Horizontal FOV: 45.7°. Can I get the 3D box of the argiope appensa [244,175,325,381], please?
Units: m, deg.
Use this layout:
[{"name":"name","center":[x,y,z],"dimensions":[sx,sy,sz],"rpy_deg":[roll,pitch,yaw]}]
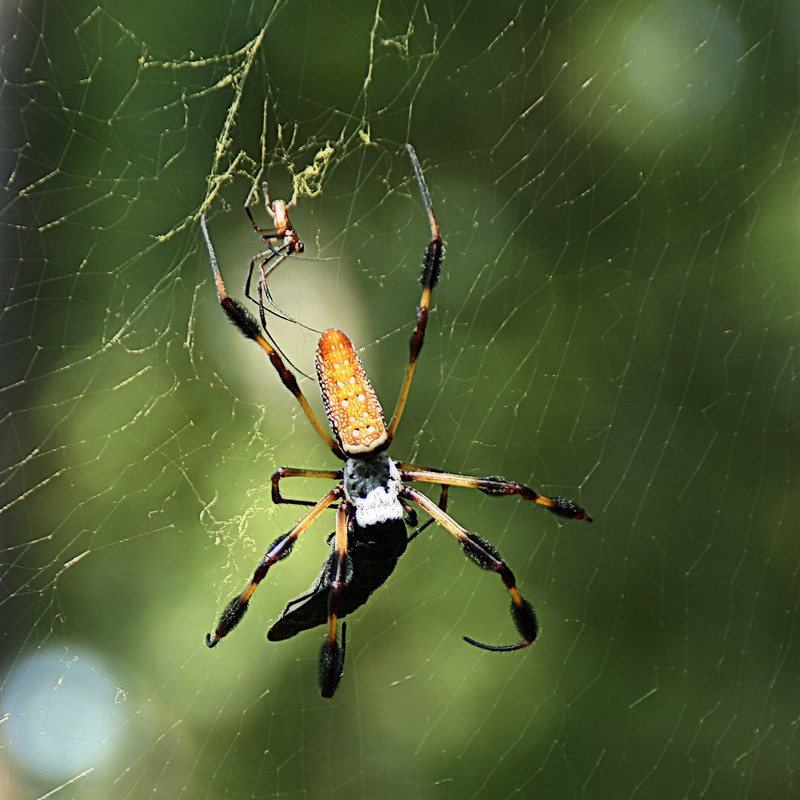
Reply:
[{"name":"argiope appensa","center":[-0.584,-0.568,4.465],"dimensions":[0.427,0.203,0.861],"rpy_deg":[-1,-92,-2]}]
